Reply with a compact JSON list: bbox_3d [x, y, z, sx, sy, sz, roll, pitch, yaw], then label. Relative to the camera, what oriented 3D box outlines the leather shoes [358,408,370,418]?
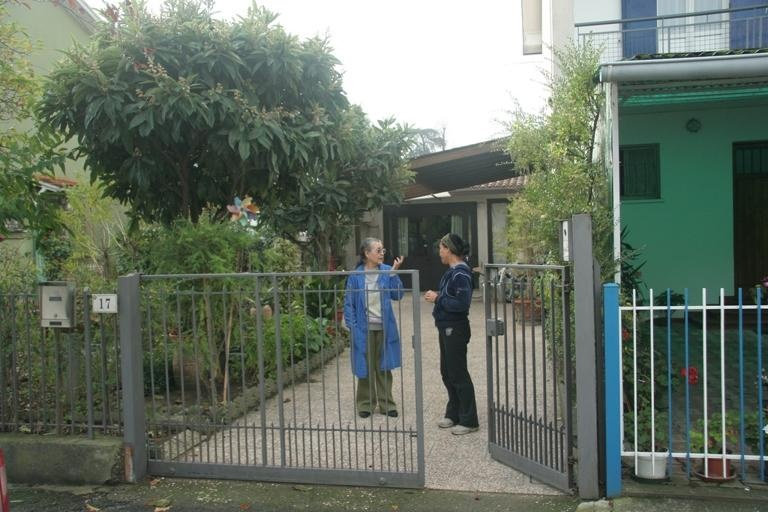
[{"bbox_3d":[-0.253,2.021,9.703,0.146,0.113,0.308,-1,-4,-3],"label":"leather shoes"}]

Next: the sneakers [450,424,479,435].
[{"bbox_3d":[1.052,2.231,9.740,0.303,0.144,0.133,3,-1,-8],"label":"sneakers"}]

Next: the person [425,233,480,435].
[{"bbox_3d":[0.890,0.987,9.875,0.571,2.600,0.569,-2,-3,26],"label":"person"}]

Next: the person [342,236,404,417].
[{"bbox_3d":[-0.131,0.905,9.661,0.754,2.377,1.563,-1,-3,-2],"label":"person"}]

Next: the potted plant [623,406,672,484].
[{"bbox_3d":[3.005,2.123,8.708,0.492,0.798,0.687,-2,-4,20],"label":"potted plant"}]

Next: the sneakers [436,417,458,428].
[{"bbox_3d":[0.809,2.191,9.947,0.225,0.093,0.105,3,-2,-16],"label":"sneakers"}]

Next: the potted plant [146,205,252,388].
[{"bbox_3d":[-2.578,0.493,10.801,1.241,2.537,2.098,2,-4,-39],"label":"potted plant"}]
